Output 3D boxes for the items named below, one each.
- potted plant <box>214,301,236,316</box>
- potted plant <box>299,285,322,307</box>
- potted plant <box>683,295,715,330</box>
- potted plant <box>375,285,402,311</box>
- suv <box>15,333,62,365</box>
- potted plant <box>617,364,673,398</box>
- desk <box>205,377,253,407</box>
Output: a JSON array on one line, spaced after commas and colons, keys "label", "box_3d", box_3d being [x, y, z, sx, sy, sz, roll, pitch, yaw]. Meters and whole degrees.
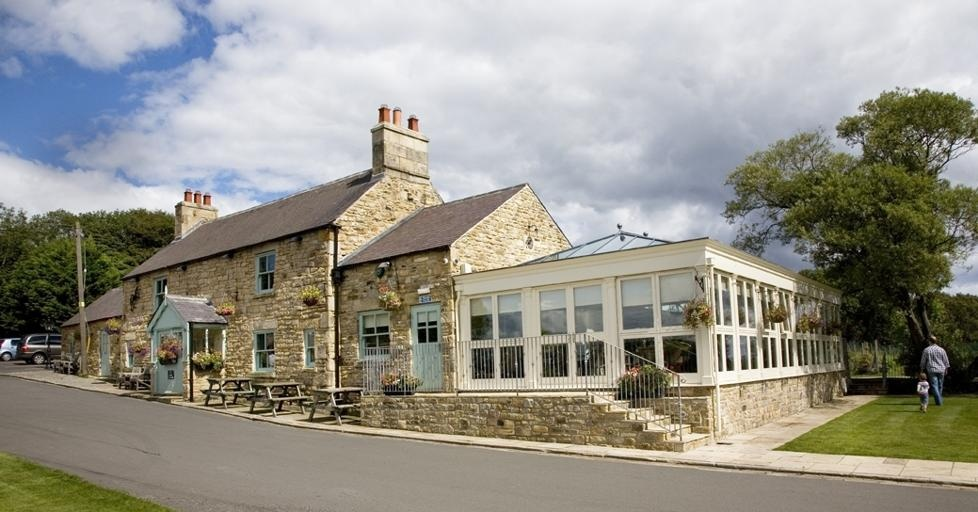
[{"label": "potted plant", "box_3d": [-13.964, 2.929, 39.209, 1.079, 0.720, 0.360, 4, 10, 29]}, {"label": "potted plant", "box_3d": [-8.741, 2.026, 36.097, 1.073, 0.872, 1.043, -2, -11, 16]}, {"label": "potted plant", "box_3d": [8.516, 2.336, 29.987, 1.259, 1.020, 1.253, 1, -1, -8]}, {"label": "potted plant", "box_3d": [-4.617, 2.056, 34.267, 1.094, 1.103, 0.461, 4, 10, 29]}, {"label": "suv", "box_3d": [-33.199, 6.948, 54.366, 3.438, 2.171, 1.764, 2, 9, 19]}, {"label": "potted plant", "box_3d": [6.301, 5.321, 30.463, 1.856, 1.191, 1.533, 0, -9, -1]}, {"label": "desk", "box_3d": [-13.269, 6.927, 37.242, 2.081, 0.963, 1.964, -8, -10, 42]}]
